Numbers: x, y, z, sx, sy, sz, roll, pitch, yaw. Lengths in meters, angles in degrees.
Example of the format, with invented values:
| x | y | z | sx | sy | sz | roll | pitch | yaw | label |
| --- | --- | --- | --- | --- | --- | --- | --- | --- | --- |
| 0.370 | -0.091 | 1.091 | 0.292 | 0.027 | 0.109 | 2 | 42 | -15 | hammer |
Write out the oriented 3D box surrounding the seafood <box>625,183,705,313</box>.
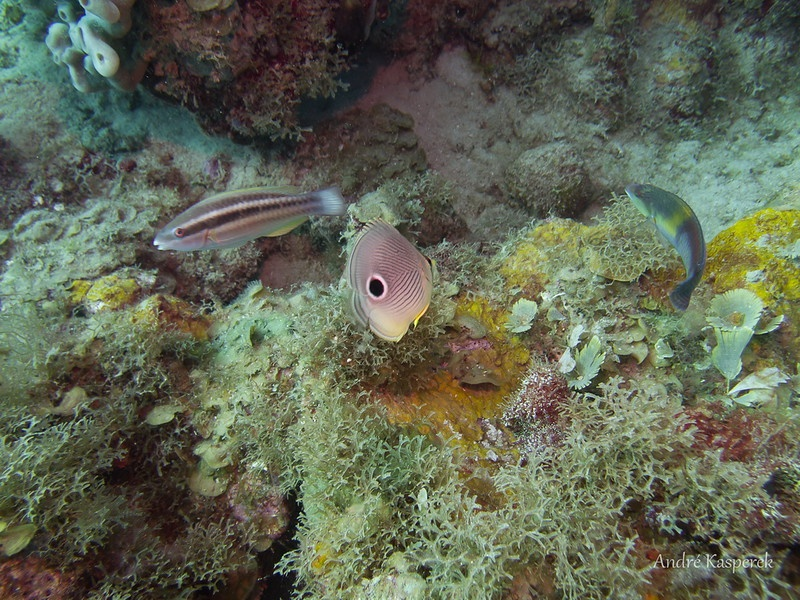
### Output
| x | y | z | sx | sy | sz | roll | pitch | yaw | label |
| --- | --- | --- | --- | --- | --- | --- | --- | --- | --- |
| 2.017 | -0.414 | 5.447 | 0.540 | 0.381 | 1.296 | -8 | 61 | 6 | seafood |

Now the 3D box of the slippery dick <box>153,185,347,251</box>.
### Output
| x | y | z | sx | sy | sz | roll | pitch | yaw | label |
| --- | --- | --- | --- | --- | --- | --- | --- | --- | --- |
| -1.174 | -0.667 | 5.677 | 1.452 | 0.230 | 0.369 | -15 | 84 | -4 | slippery dick |

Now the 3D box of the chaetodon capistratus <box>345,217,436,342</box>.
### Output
| x | y | z | sx | sy | sz | roll | pitch | yaw | label |
| --- | --- | --- | --- | --- | --- | --- | --- | --- | --- |
| -0.093 | -0.136 | 5.401 | 0.700 | 0.255 | 0.944 | 2 | 83 | -24 | chaetodon capistratus |
